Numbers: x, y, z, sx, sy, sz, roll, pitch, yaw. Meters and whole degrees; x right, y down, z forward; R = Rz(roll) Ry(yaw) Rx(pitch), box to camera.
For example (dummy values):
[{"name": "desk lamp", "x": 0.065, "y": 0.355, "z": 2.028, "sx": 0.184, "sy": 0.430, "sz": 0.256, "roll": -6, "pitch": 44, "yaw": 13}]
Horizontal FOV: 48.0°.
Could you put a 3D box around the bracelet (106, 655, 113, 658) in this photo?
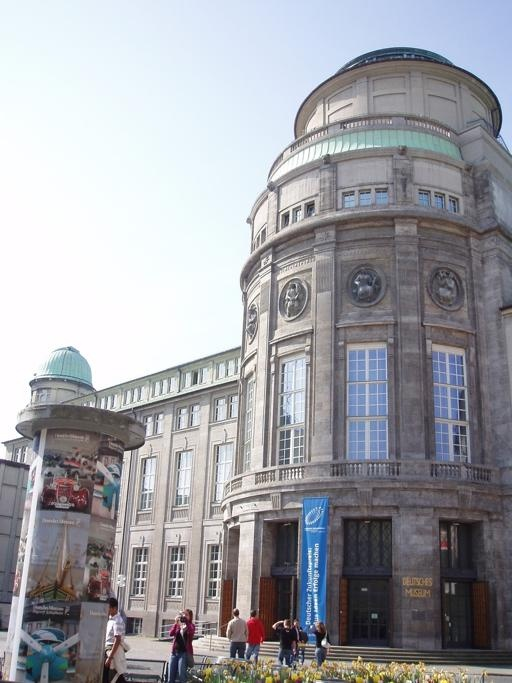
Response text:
[{"name": "bracelet", "x": -2.302, "y": 4.912, "z": 8.946, "sx": 0.117, "sy": 0.036, "sz": 0.117, "roll": 3, "pitch": -22, "yaw": -2}]

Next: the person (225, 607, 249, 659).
[{"name": "person", "x": -0.518, "y": 8.447, "z": 16.227, "sx": 0.575, "sy": 1.711, "sz": 0.484, "roll": 0, "pitch": -6, "yaw": -3}]

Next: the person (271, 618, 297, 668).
[{"name": "person", "x": 0.786, "y": 8.852, "z": 16.582, "sx": 0.679, "sy": 1.747, "sz": 0.389, "roll": 2, "pitch": 7, "yaw": -7}]
